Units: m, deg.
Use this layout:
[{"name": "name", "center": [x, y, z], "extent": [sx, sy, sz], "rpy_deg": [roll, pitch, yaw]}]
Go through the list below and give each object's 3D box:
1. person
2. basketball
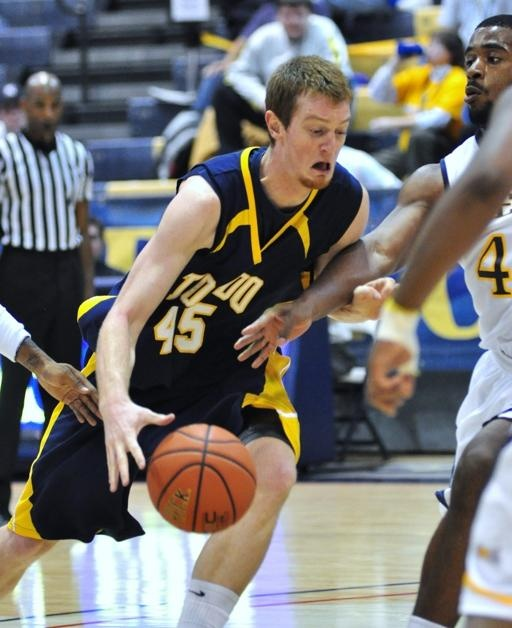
[{"name": "person", "center": [-0.201, 0.030, 2.422], "extent": [0.843, 1.175, 0.939], "rpy_deg": [-4, -2, 45]}, {"name": "basketball", "center": [-0.076, 0.395, 2.075], "extent": [0.281, 0.226, 0.245], "rpy_deg": [7, -16, 14]}]
